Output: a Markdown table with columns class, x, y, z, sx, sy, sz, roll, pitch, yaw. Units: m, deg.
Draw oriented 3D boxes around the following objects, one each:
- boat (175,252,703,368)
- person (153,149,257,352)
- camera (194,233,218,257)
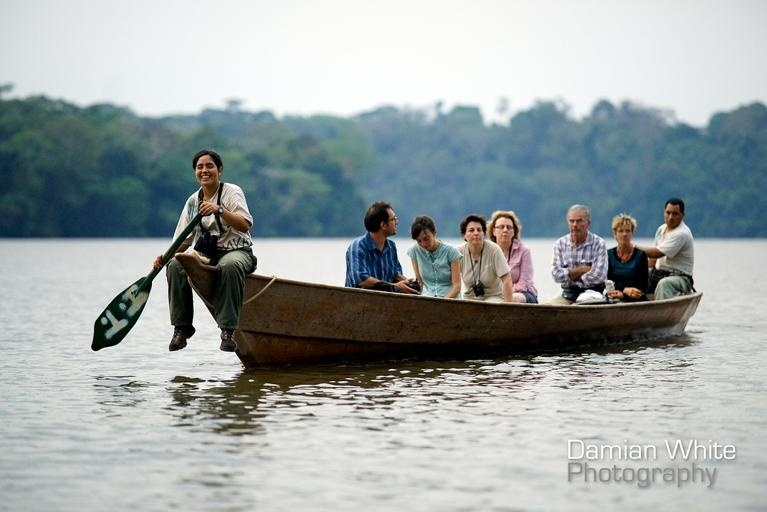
| class | x | y | z | sx | sy | sz | roll | pitch | yaw |
| --- | --- | --- | --- | --- | --- | --- | --- | --- | --- |
| boat | 1.779 | 0.695 | 18.658 | 10.455 | 1.596 | 2.278 | 5 | -8 | -26 |
| person | -2.444 | -0.036 | 16.998 | 1.137 | 2.954 | 1.014 | 4 | 7 | 29 |
| camera | -2.479 | -0.141 | 17.056 | 0.348 | 0.323 | 0.369 | 8 | 2 | 15 |
